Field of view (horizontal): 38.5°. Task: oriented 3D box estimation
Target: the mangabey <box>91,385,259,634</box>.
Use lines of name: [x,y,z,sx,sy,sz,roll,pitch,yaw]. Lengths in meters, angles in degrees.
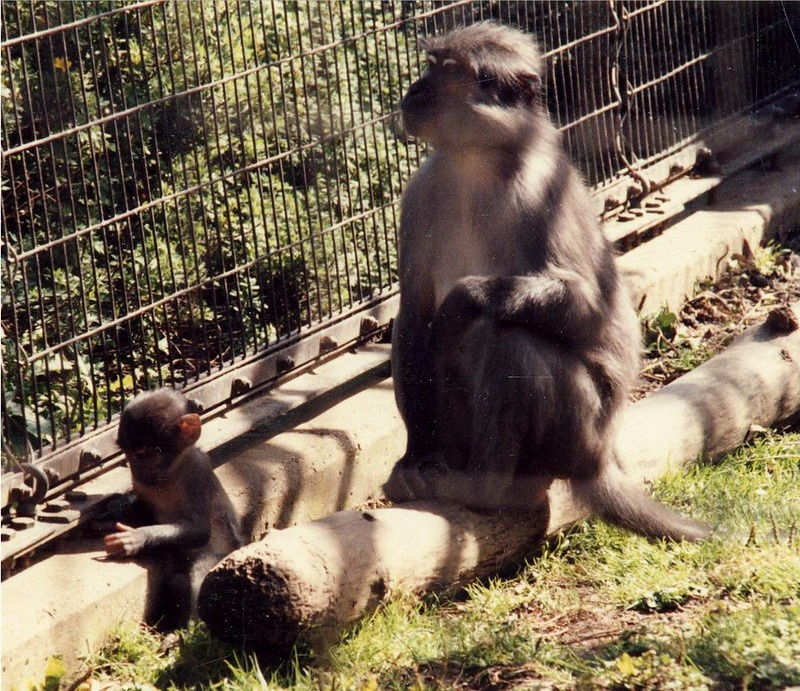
mangabey: [-1.080,0.701,5.489,0.549,1.180,0.565,1,27,-6]
